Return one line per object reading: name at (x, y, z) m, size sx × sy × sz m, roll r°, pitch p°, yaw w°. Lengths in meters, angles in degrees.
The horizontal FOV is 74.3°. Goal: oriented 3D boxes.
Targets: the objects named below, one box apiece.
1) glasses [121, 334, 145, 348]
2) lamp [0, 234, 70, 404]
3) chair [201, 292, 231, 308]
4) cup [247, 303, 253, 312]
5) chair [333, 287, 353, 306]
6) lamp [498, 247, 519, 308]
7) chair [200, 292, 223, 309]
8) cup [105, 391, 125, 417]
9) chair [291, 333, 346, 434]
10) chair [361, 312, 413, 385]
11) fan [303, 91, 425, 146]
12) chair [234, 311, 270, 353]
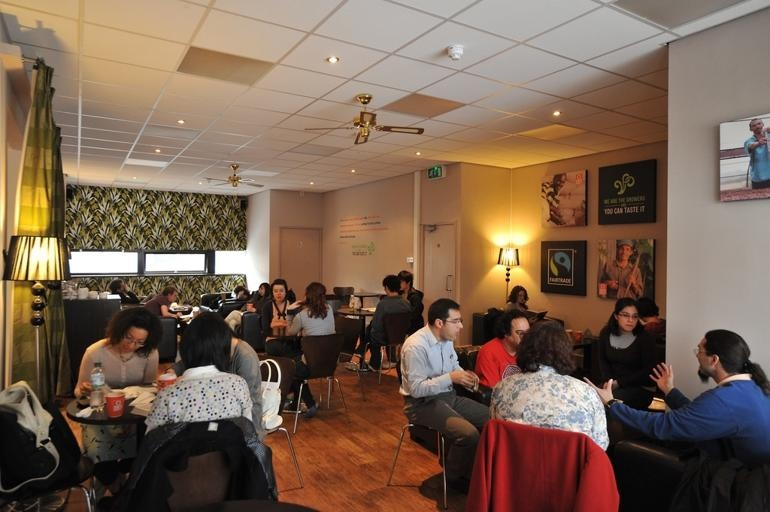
glasses at (-2.108, 0.720, 4.290) m, size 0.130 × 0.087 × 0.165 m, roll 33°, pitch -9°, yaw -32°
lamp at (-3.232, 0.668, 4.861) m, size 0.475 × 1.838 × 1.010 m, roll -6°, pitch 12°, yaw -32°
chair at (-3.969, 1.049, 12.024) m, size 0.545 × 0.470 × 0.576 m, roll 5°, pitch -2°, yaw -43°
cup at (-2.212, 0.854, 8.386) m, size 0.123 × 0.114 × 0.121 m, roll -2°, pitch 3°, yaw 0°
chair at (-0.933, 0.910, 11.455) m, size 0.379 × 0.464 × 0.419 m, roll 1°, pitch -9°, yaw 0°
lamp at (2.392, 0.447, 9.932) m, size 0.356 × 1.498 × 0.352 m, roll 2°, pitch 30°, yaw 11°
chair at (-4.000, 1.072, 11.980) m, size 0.518 × 0.463 × 0.493 m, roll 2°, pitch 1°, yaw -34°
cup at (-2.049, 1.142, 3.874) m, size 0.169 × 0.151 × 0.141 m, roll -6°, pitch -8°, yaw 42°
chair at (-0.804, 1.380, 6.114) m, size 0.672 × 1.053 × 0.641 m, roll -2°, pitch 11°, yaw -18°
chair at (0.049, 1.275, 7.657) m, size 0.628 × 0.918 × 0.612 m, roll 10°, pitch -8°, yaw -41°
fan at (-0.123, -1.678, 6.434) m, size 0.893 × 0.355 × 0.884 m, roll -5°, pitch -8°, yaw 43°
chair at (-1.744, 1.021, 6.790) m, size 0.427 × 0.681 × 0.736 m, roll 1°, pitch -2°, yaw -29°
